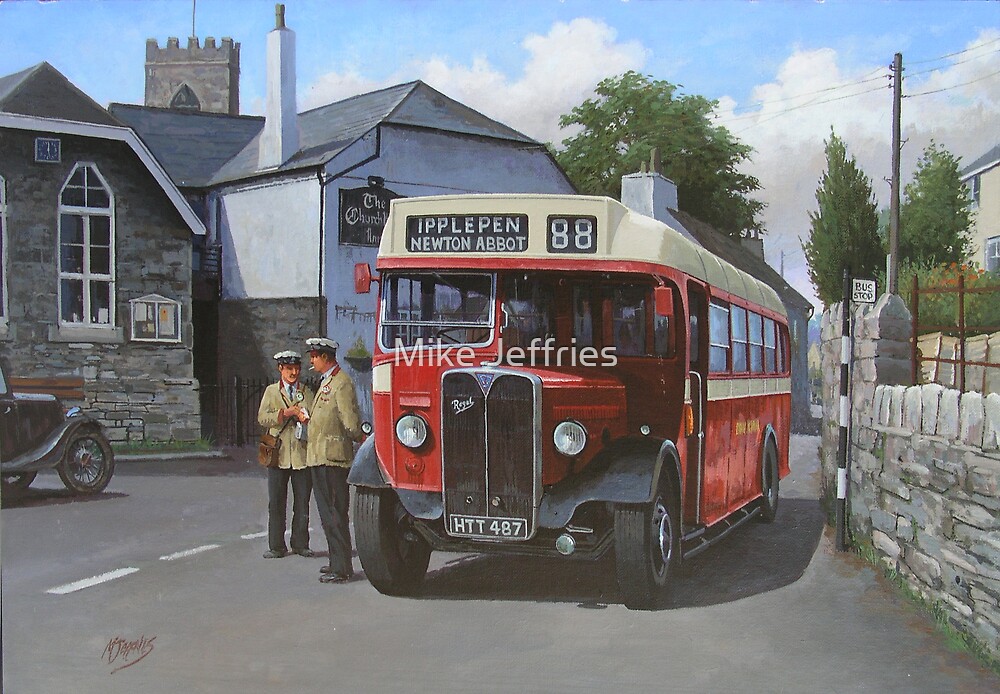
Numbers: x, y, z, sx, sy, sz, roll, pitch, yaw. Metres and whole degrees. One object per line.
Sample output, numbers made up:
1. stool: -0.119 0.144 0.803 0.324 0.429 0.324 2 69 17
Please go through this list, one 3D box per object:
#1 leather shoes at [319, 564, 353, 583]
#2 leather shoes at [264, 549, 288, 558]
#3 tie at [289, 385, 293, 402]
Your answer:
1. leather shoes: -1.872 2.573 11.822 0.392 0.207 0.152 -2 -2 18
2. leather shoes: -2.786 2.592 12.984 0.119 0.083 0.211 -10 -19 39
3. tie: -2.582 0.564 12.927 0.041 0.184 0.045 2 -10 -2
